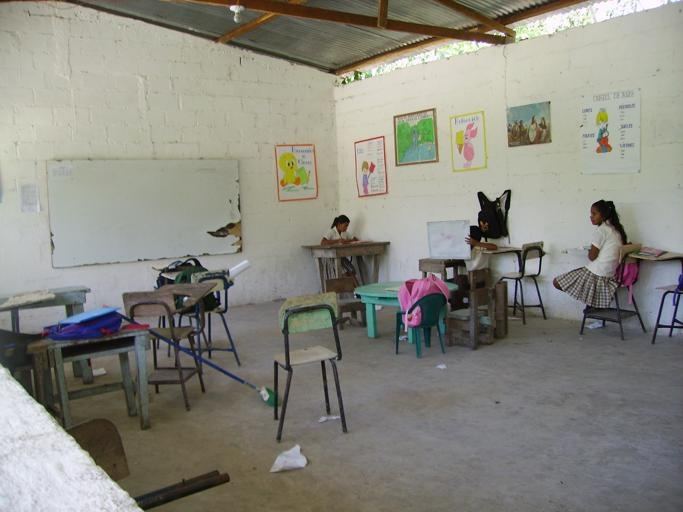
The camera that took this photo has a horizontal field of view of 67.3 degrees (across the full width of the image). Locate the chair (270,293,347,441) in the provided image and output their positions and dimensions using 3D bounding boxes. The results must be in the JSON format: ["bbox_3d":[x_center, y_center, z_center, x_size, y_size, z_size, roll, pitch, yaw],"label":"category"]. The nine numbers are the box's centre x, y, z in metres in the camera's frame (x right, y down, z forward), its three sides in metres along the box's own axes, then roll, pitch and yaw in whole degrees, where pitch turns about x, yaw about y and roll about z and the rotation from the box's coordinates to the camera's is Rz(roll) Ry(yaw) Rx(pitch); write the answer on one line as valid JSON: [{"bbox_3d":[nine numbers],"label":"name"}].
[{"bbox_3d":[-0.307,0.685,4.215,0.606,0.974,1.623,-4,8,-1],"label":"chair"}]

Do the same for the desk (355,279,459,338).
[{"bbox_3d":[0.708,0.561,5.444,0.666,0.312,0.655,-3,3,-4],"label":"desk"}]

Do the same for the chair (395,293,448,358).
[{"bbox_3d":[0.789,0.673,5.028,0.437,0.575,0.413,-2,0,-32],"label":"chair"}]

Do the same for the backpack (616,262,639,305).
[{"bbox_3d":[3.045,0.290,5.459,0.317,0.408,0.184,28,-19,-31],"label":"backpack"}]

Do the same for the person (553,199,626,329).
[{"bbox_3d":[2.731,0.109,5.600,0.635,1.420,0.517,1,10,29],"label":"person"}]

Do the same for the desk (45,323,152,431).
[{"bbox_3d":[-1.817,0.879,4.005,0.805,0.732,0.772,-6,11,-27],"label":"desk"}]

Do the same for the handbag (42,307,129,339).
[{"bbox_3d":[-1.791,0.473,3.623,0.314,0.106,0.292,-3,4,-36],"label":"handbag"}]

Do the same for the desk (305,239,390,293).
[{"bbox_3d":[0.100,0.250,8.281,1.142,0.987,1.136,-7,6,-35],"label":"desk"}]

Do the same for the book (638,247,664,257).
[{"bbox_3d":[3.213,-0.054,5.311,0.221,0.055,0.325,4,10,41],"label":"book"}]

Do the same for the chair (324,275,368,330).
[{"bbox_3d":[0.044,0.584,6.541,0.461,0.563,0.490,-5,5,-11],"label":"chair"}]

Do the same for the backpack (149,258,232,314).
[{"bbox_3d":[-1.625,0.297,5.391,0.701,0.681,0.484,-7,15,-40],"label":"backpack"}]

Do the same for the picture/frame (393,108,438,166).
[{"bbox_3d":[1.102,-1.756,7.621,0.052,0.769,0.822,-12,12,-43],"label":"picture/frame"}]

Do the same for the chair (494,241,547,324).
[{"bbox_3d":[2.205,0.295,6.312,0.554,0.997,0.850,2,10,31],"label":"chair"}]

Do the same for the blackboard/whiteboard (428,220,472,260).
[{"bbox_3d":[1.250,-0.191,5.926,0.476,0.395,0.039,0,-2,40],"label":"blackboard/whiteboard"}]

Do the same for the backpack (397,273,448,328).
[{"bbox_3d":[0.780,0.427,4.909,0.462,0.508,0.364,-2,8,11],"label":"backpack"}]
